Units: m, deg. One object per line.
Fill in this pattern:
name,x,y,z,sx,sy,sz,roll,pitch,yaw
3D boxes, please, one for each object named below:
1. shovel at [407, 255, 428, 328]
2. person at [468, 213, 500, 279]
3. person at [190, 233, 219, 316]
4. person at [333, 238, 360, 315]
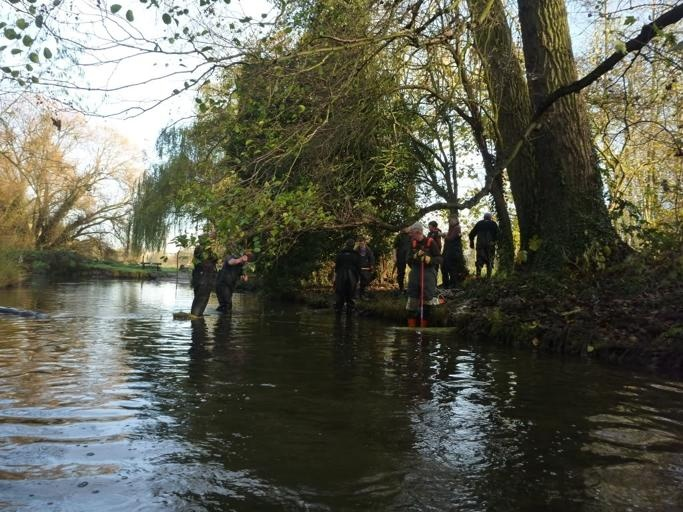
shovel,1.824,0.862,14.405,0.371,1.641,0.915,2,-5,-4
person,4.623,-0.405,19.610,0.916,2.163,1.290,1,-5,12
person,-3.438,0.465,15.050,0.615,0.537,2.389,6,-32,-15
person,0.165,0.596,17.887,0.708,2.214,0.627,4,-6,-24
